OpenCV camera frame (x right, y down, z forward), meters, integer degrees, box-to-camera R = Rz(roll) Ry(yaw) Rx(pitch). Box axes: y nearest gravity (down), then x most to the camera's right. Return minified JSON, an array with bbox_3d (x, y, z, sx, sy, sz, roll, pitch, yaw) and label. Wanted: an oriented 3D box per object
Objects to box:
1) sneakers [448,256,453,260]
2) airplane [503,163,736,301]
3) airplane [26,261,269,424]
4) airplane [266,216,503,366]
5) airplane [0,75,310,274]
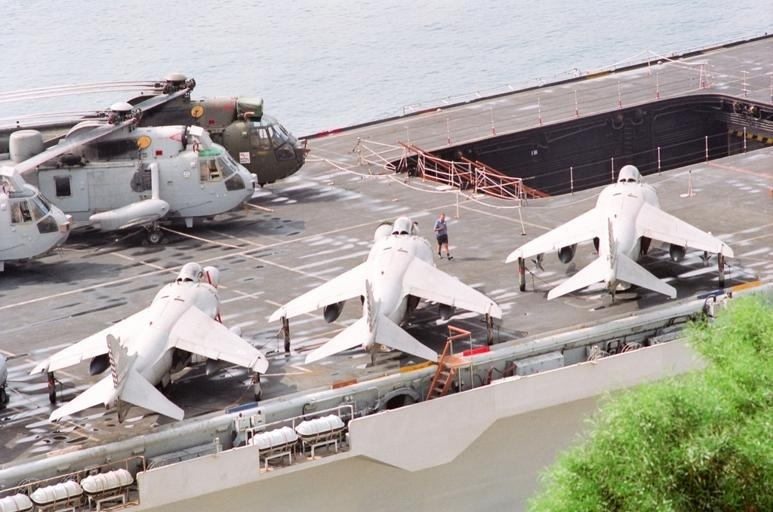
[{"bbox_3d":[4.733,0.062,108.646,0.159,0.360,0.231,9,61,-12],"label":"sneakers"},{"bbox_3d":[16.520,-0.760,103.281,11.901,7.220,11.177,3,20,32],"label":"airplane"},{"bbox_3d":[-15.240,6.000,94.519,13.248,7.782,9.597,-15,19,-23],"label":"airplane"},{"bbox_3d":[0.142,2.760,99.150,11.685,7.713,11.601,2,20,29],"label":"airplane"},{"bbox_3d":[-17.665,-6.313,117.112,21.847,6.024,14.351,-10,27,-6],"label":"airplane"}]
